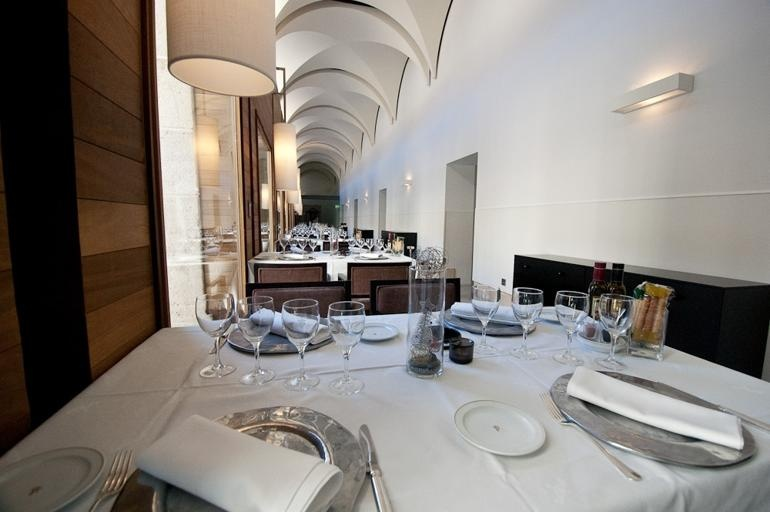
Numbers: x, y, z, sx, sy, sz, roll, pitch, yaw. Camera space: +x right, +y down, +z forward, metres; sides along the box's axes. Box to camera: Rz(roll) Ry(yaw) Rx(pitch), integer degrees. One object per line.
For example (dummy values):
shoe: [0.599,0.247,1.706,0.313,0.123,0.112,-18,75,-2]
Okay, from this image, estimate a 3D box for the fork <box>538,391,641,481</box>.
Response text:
fork: [0.634,0.525,1.662,0.089,0.089,0.561,4,24,-22]

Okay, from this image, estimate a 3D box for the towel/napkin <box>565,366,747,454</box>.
towel/napkin: [0.900,0.452,1.593,0.418,0.067,0.236,10,16,33]

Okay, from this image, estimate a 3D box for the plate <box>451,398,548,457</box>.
plate: [0.376,0.550,1.561,0.174,0.026,0.170,4,21,1]

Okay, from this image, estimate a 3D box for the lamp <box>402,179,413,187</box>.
lamp: [0.457,-1.461,9.379,0.118,0.156,0.226,-2,3,-16]

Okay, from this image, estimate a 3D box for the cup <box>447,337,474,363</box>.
cup: [0.301,0.369,1.881,0.084,0.075,0.088,-1,0,0]

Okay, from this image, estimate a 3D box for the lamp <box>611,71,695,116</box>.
lamp: [1.870,-1.149,3.357,0.144,0.167,0.561,1,4,-22]
